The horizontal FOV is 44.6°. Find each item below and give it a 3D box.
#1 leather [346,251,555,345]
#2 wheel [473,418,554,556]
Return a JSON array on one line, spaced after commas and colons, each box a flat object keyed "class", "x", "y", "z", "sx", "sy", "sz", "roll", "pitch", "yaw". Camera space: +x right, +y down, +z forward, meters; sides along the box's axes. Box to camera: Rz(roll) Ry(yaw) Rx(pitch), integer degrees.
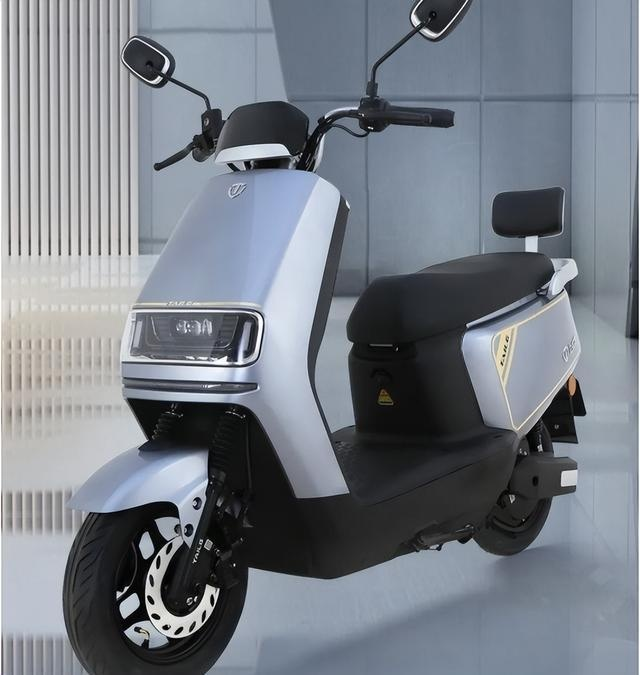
[{"class": "leather", "x": 0.315, "y": -0.105, "z": 1.831, "sx": 0.357, "sy": 0.082, "sz": 0.249, "roll": -25, "pitch": 11, "yaw": -32}, {"class": "wheel", "x": 0.442, "y": 0.341, "z": 1.801, "sx": 0.094, "sy": 0.323, "sz": 0.367, "roll": 10, "pitch": 23, "yaw": 32}]
